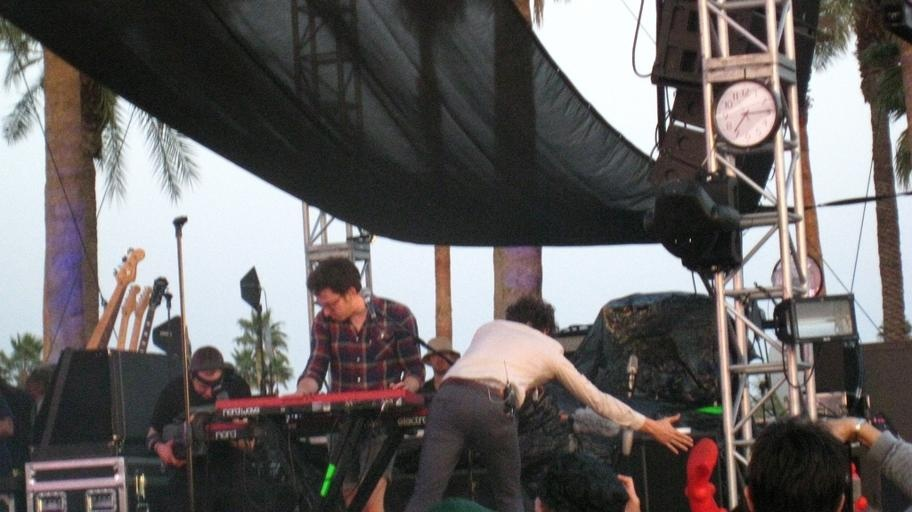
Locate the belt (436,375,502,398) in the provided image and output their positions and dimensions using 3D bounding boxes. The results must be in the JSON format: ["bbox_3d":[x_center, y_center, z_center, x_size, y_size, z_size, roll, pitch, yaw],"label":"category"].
[{"bbox_3d":[0.204,1.722,23.198,0.861,0.285,0.106,0,-10,-3],"label":"belt"}]

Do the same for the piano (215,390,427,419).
[{"bbox_3d":[-1.778,1.967,23.550,2.729,0.328,0.230,-1,-11,0],"label":"piano"}]

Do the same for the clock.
[{"bbox_3d":[4.147,-1.993,24.562,0.857,1.045,0.202,-1,-9,16],"label":"clock"}]
